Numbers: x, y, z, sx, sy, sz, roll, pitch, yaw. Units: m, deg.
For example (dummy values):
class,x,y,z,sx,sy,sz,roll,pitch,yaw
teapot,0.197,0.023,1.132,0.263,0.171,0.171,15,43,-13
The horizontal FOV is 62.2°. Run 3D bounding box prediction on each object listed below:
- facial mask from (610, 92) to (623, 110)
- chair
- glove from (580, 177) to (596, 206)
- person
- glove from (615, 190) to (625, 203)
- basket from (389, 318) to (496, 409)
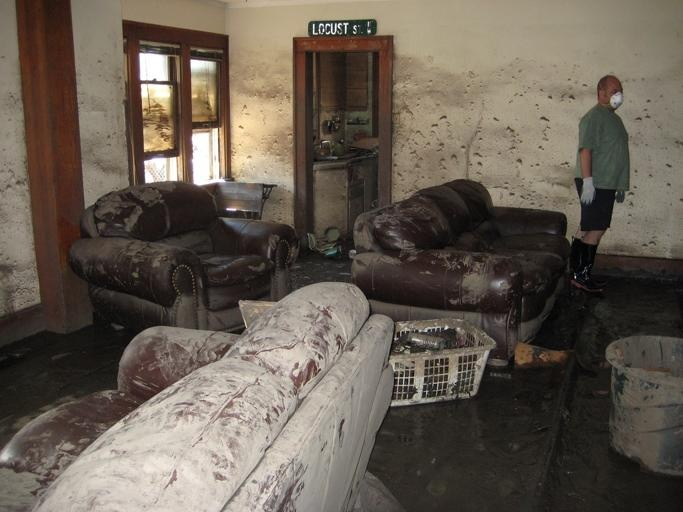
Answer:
class,x,y,z,sx,sy,sz,roll,pitch,yaw
facial mask,2.397,-1.368,4.943,0.082,0.131,0.084,2,14,30
chair,-1.192,-0.002,4.373,1.244,0.990,1.522,16,19,39
glove,2.177,-0.576,4.984,0.109,0.253,0.120,0,13,23
person,2.303,-0.621,5.055,0.476,1.902,0.376,0,13,22
glove,2.618,-0.573,5.322,0.091,0.128,0.067,19,55,15
basket,0.575,0.629,3.407,0.665,0.337,0.441,-3,12,-14
